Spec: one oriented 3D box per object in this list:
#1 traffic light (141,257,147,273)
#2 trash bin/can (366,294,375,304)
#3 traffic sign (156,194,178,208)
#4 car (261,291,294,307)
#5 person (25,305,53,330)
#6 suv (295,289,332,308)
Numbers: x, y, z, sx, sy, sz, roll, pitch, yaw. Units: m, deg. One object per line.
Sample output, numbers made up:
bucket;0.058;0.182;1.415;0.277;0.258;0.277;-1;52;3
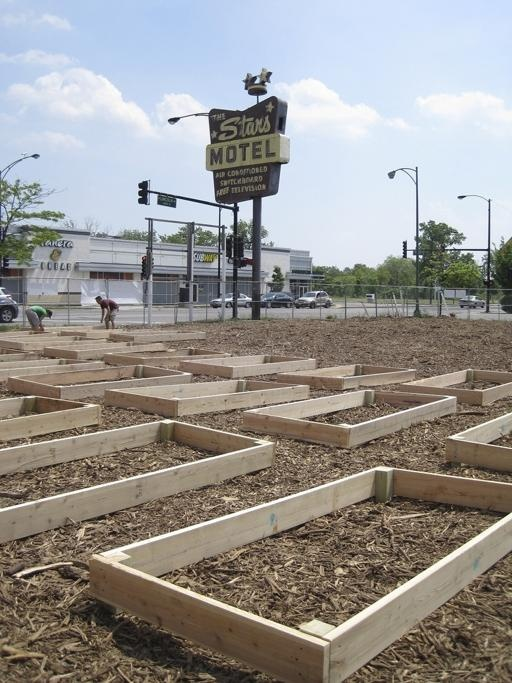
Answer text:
traffic light;-4.932;-3.395;26.564;0.138;0.751;1.473;0;4;-15
trash bin/can;6.467;-2.424;34.001;0.562;0.738;0.505;0;1;17
traffic sign;-3.714;-5.851;24.900;1.051;0.534;0.714;-2;4;-31
car;1.539;-3.095;44.478;2.510;1.101;1.487;-3;5;-45
person;-6.081;-0.622;16.611;0.469;0.682;1.787;-1;4;-21
suv;4.447;-3.201;46.645;2.832;1.356;2.235;-3;5;-42
